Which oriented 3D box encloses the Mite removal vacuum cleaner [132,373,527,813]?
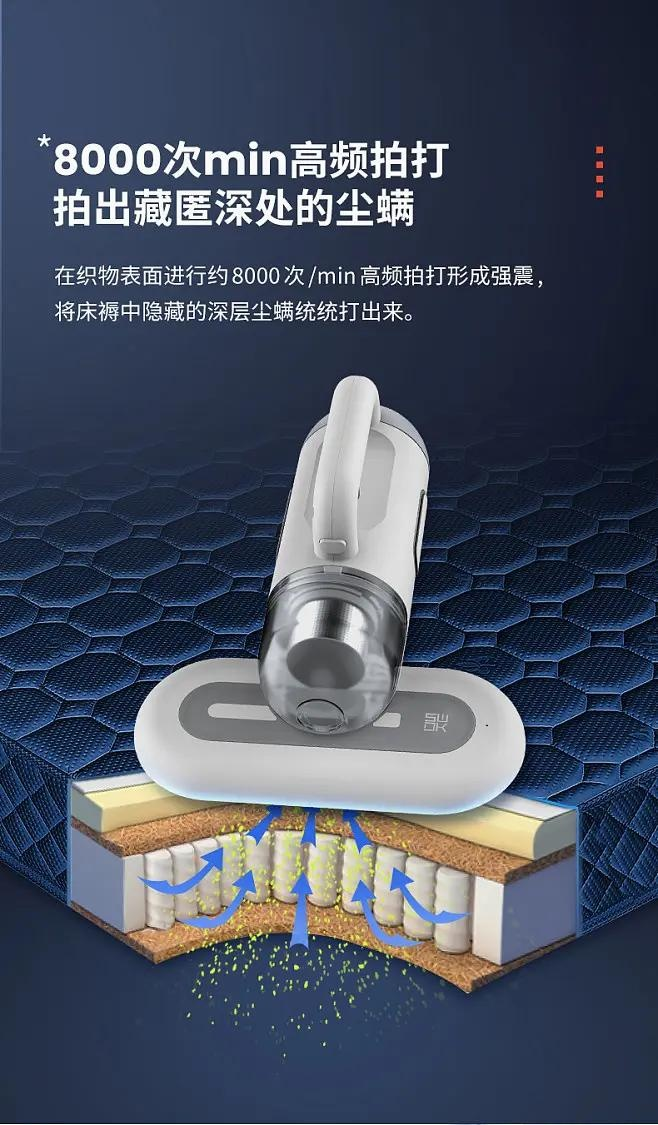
[{"bbox_3d":[0.012,-0.002,1.072,0.380,0.283,0.602,0,38,6],"label":"Mite removal vacuum cleaner"}]
